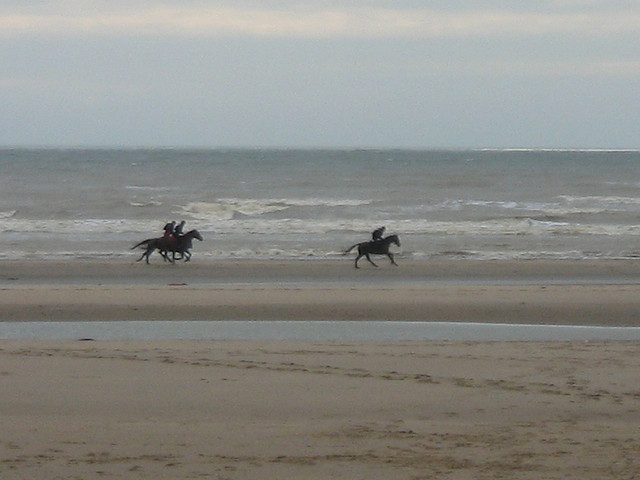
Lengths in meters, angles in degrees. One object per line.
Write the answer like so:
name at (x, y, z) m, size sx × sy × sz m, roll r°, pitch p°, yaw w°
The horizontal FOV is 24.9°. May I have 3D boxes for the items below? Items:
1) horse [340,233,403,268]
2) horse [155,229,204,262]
horse at (1.815, 0.430, 51.364) m, size 2.489 × 0.967 × 0.527 m, roll -4°, pitch -8°, yaw 39°
horse at (-5.329, 0.214, 52.087) m, size 2.392 × 1.049 × 0.580 m, roll -2°, pitch 10°, yaw -36°
